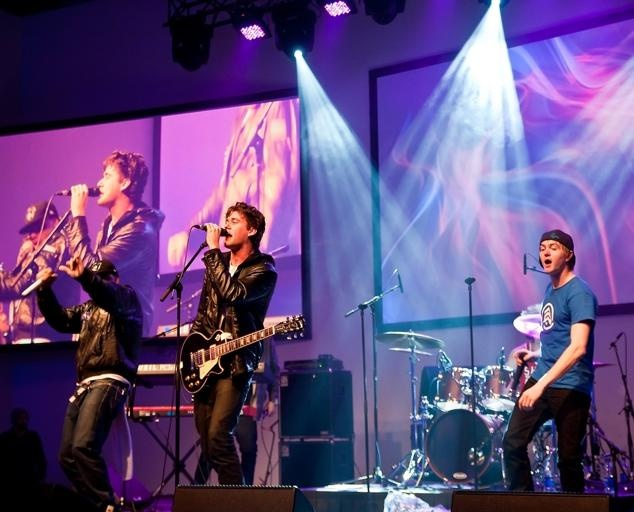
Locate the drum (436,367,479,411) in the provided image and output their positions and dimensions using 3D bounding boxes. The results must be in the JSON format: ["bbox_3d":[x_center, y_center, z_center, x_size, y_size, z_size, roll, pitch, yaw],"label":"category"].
[{"bbox_3d":[1.223,1.153,5.645,0.302,0.359,0.347,7,-12,8],"label":"drum"}]

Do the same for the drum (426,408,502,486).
[{"bbox_3d":[1.202,1.537,5.318,0.375,0.575,0.647,9,-21,-28],"label":"drum"}]

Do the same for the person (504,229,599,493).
[{"bbox_3d":[1.415,0.607,3.990,0.637,1.576,0.552,-12,-20,32],"label":"person"}]

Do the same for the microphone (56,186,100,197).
[{"bbox_3d":[-2.823,-0.769,7.751,0.384,0.131,0.105,-2,-7,6],"label":"microphone"}]

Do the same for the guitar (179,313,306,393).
[{"bbox_3d":[-0.610,0.659,4.141,0.618,0.401,0.169,-11,-20,25],"label":"guitar"}]

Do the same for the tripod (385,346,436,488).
[{"bbox_3d":[0.881,1.440,6.070,0.448,1.349,1.061,-3,-18,8],"label":"tripod"}]

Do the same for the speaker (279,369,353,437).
[{"bbox_3d":[-0.003,1.383,6.342,0.579,0.719,0.626,-5,-13,21],"label":"speaker"}]

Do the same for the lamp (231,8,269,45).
[{"bbox_3d":[-0.734,-2.611,7.204,0.273,0.282,0.471,-17,-25,39],"label":"lamp"}]

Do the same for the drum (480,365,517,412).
[{"bbox_3d":[1.505,1.102,5.491,0.366,0.444,0.366,7,-10,-32],"label":"drum"}]

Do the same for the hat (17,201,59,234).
[{"bbox_3d":[-3.344,-0.465,7.794,0.451,0.252,0.339,-28,1,-27],"label":"hat"}]

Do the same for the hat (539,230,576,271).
[{"bbox_3d":[1.570,-0.076,4.254,0.195,0.278,0.284,10,-9,30],"label":"hat"}]

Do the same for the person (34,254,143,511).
[{"bbox_3d":[-1.645,0.843,4.730,0.751,1.896,0.743,-15,-22,40],"label":"person"}]
